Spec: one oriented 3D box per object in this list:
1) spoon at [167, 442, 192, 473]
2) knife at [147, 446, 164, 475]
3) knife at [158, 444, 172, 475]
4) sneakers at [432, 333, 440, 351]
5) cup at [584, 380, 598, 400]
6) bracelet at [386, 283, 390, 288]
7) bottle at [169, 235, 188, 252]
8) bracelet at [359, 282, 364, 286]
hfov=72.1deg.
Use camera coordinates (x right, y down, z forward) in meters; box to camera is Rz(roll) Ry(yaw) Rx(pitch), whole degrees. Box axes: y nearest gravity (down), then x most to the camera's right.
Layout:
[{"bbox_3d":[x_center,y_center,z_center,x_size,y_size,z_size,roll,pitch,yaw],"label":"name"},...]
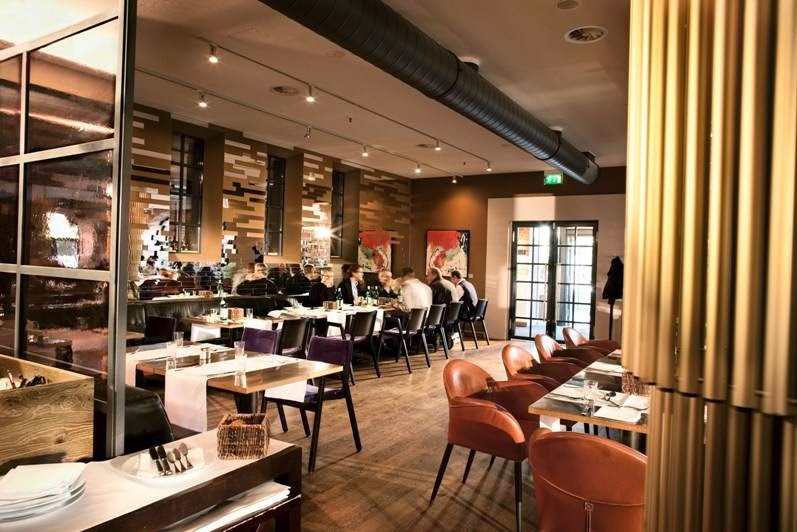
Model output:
[{"bbox_3d":[-0.892,0.772,2.242,0.053,0.034,0.216,6,-1,-24],"label":"spoon"},{"bbox_3d":[-0.986,0.780,2.257,0.047,0.019,0.225,-1,14,-29],"label":"knife"},{"bbox_3d":[-0.950,0.776,2.243,0.044,0.020,0.245,-4,4,-14],"label":"knife"},{"bbox_3d":[0.648,1.265,9.164,0.076,0.326,0.092,17,18,42],"label":"sneakers"},{"bbox_3d":[1.138,0.730,3.236,0.062,0.107,0.097,3,2,12],"label":"cup"},{"bbox_3d":[-0.160,0.353,9.910,0.073,0.090,0.093,0,4,4],"label":"bracelet"},{"bbox_3d":[-3.139,-0.325,7.882,0.059,0.208,0.304,4,3,24],"label":"bottle"},{"bbox_3d":[-0.732,0.371,11.491,0.103,0.053,0.102,6,2,-32],"label":"bracelet"}]
